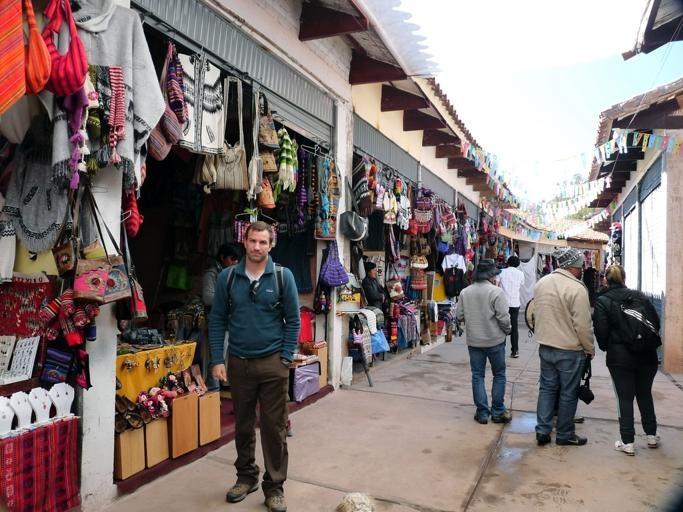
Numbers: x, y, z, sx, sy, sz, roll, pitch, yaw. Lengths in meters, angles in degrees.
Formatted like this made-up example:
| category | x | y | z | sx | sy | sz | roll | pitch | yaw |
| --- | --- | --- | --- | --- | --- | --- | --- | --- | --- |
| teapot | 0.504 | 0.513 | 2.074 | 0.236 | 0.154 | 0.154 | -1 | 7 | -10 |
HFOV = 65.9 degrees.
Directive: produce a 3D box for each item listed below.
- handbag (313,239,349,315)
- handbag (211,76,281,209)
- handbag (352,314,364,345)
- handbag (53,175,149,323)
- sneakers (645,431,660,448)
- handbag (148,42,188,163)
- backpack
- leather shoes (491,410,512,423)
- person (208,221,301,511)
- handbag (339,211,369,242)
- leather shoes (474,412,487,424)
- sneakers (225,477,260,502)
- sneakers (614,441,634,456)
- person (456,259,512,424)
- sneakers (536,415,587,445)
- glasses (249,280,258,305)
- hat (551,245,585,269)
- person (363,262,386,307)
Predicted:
| category | x | y | z | sx | sy | sz | roll | pitch | yaw |
| --- | --- | --- | --- | --- | --- | --- | --- | --- | --- |
| handbag | -0.164 | 0.284 | 7.696 | 0.525 | 1.059 | 0.260 | 0 | 2 | -33 |
| handbag | -1.028 | -1.229 | 5.680 | 0.346 | 1.282 | 0.865 | -1 | 1 | 43 |
| handbag | 0.245 | 1.114 | 8.139 | 0.149 | 0.414 | 0.399 | 1 | 2 | 1 |
| handbag | -1.906 | -0.039 | 4.190 | 0.672 | 1.166 | 0.478 | 0 | 2 | -31 |
| sneakers | 3.266 | 1.934 | 5.567 | 0.080 | 0.087 | 0.190 | 1 | 10 | 10 |
| handbag | -1.560 | -1.411 | 4.670 | 0.285 | 1.098 | 0.564 | 1 | 2 | 2 |
| backpack | 3.038 | 0.672 | 5.469 | 0.435 | 0.656 | 0.327 | 2 | 2 | 32 |
| leather shoes | 1.939 | 1.951 | 6.419 | 0.248 | 0.127 | 0.109 | -9 | 11 | -36 |
| person | -0.744 | 0.883 | 4.435 | 0.737 | 2.353 | 0.363 | 1 | 1 | 16 |
| handbag | 0.277 | -0.461 | 7.885 | 0.323 | 0.517 | 0.475 | 4 | 8 | 44 |
| leather shoes | 1.687 | 1.946 | 6.379 | 0.177 | 0.118 | 0.189 | 1 | 2 | 12 |
| sneakers | -0.844 | 1.970 | 4.443 | 0.102 | 0.123 | 0.273 | -2 | -8 | 32 |
| sneakers | 2.902 | 1.979 | 5.447 | 0.088 | 0.094 | 0.205 | 1 | 6 | -7 |
| person | 1.756 | 1.020 | 6.523 | 0.666 | 1.965 | 0.526 | 1 | 1 | 14 |
| sneakers | 2.387 | 1.915 | 5.768 | 0.553 | 0.269 | 0.197 | -1 | -2 | -1 |
| glasses | -0.737 | 0.287 | 4.376 | 0.042 | 0.138 | 0.129 | -3 | -23 | 20 |
| hat | 2.559 | 0.026 | 5.987 | 0.267 | 0.234 | 0.221 | 18 | 33 | 32 |
| person | 0.547 | 0.508 | 9.220 | 0.303 | 0.823 | 0.501 | 2 | 2 | 33 |
